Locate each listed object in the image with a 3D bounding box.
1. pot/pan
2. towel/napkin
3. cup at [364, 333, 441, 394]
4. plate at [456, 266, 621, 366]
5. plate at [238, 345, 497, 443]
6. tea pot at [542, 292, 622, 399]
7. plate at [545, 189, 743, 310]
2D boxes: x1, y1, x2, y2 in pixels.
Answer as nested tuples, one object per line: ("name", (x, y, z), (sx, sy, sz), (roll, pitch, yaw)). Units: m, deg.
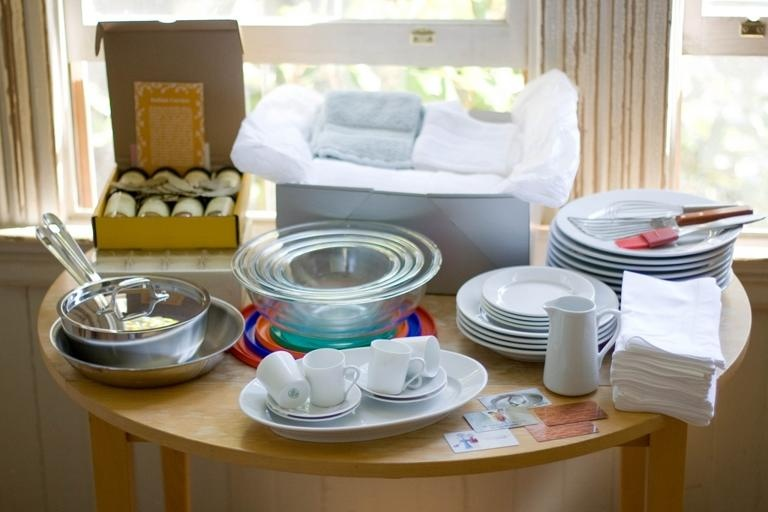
("pot/pan", (-0.488, 0.100, 1.270), (0.252, 0.110, 0.473), (-11, 36, -43))
("towel/napkin", (0.561, 0.169, 1.269), (0.189, 0.216, 0.286), (5, 19, 21))
("cup", (0.033, 0.196, 1.192), (0.132, 0.094, 0.086), (3, 8, -2))
("plate", (0.308, 0.105, 1.329), (0.227, 0.078, 0.227), (6, 26, 15))
("plate", (-0.010, 0.279, 1.180), (0.298, 0.039, 0.203), (-6, 22, -8))
("tea pot", (0.354, 0.167, 1.261), (0.203, 0.215, 0.134), (-2, 14, -2))
("plate", (0.590, -0.035, 1.470), (0.320, 0.137, 0.319), (-4, 20, -6))
